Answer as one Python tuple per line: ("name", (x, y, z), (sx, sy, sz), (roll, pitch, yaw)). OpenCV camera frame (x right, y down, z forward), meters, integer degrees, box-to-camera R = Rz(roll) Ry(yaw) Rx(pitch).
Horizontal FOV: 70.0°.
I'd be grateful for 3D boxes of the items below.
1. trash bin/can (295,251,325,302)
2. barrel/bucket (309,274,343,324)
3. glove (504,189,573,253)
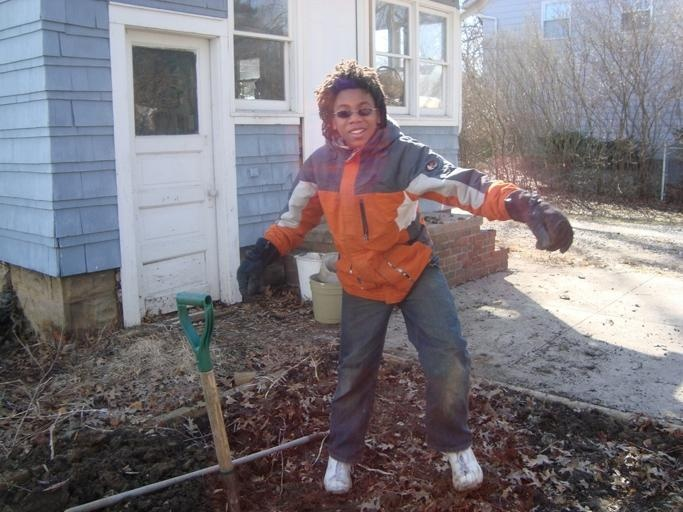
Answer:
("trash bin/can", (-0.378, 0.252, 5.942), (0.447, 0.494, 0.364), (-14, 22, -35))
("barrel/bucket", (-0.136, 0.499, 5.751), (0.466, 0.525, 0.498), (0, 4, 0))
("glove", (0.916, -0.166, 2.288), (0.143, 0.196, 0.361), (34, 15, -38))
